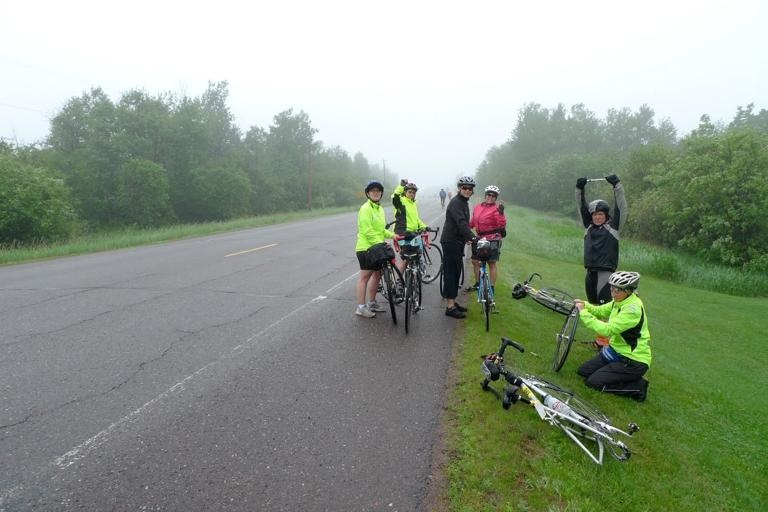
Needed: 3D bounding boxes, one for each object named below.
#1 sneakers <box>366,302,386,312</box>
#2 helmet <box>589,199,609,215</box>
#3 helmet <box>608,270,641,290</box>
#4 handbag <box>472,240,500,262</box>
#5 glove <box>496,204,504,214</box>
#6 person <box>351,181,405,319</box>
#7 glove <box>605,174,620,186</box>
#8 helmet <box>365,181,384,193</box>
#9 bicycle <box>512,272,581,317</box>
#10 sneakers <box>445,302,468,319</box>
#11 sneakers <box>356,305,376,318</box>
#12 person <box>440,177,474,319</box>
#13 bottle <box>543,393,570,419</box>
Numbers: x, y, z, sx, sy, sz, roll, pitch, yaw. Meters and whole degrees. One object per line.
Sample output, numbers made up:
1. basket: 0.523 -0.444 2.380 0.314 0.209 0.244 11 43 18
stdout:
1. sneakers: -0.173 1.147 12.343 0.428 0.218 0.175 1 8 -23
2. helmet: 4.561 -1.060 11.428 0.238 0.281 0.342 -1 -16 25
3. helmet: 4.458 0.421 10.015 0.460 0.281 0.347 2 11 -6
4. handbag: 2.225 -0.138 12.000 0.394 0.324 0.722 0 4 3
5. glove: 2.824 -1.137 13.030 0.106 0.295 0.408 5 13 21
6. person: -0.209 -0.184 12.077 0.839 3.006 1.422 0 12 -3
7. glove: 4.792 -1.599 11.321 0.263 0.252 0.651 5 13 19
8. helmet: -0.193 -1.511 11.644 0.225 0.293 0.294 -7 -8 -25
9. bicycle: 3.846 0.821 13.312 1.298 0.783 2.773 4 13 13
10. sneakers: 1.639 1.227 12.229 0.434 0.204 0.275 1 10 22
11. sneakers: -0.406 1.219 12.105 0.426 0.204 0.221 5 10 19
12. person: 1.620 -0.209 12.123 0.679 3.129 1.068 2 12 7
13. bottle: 2.883 2.472 8.957 0.431 0.223 0.202 6 13 19
